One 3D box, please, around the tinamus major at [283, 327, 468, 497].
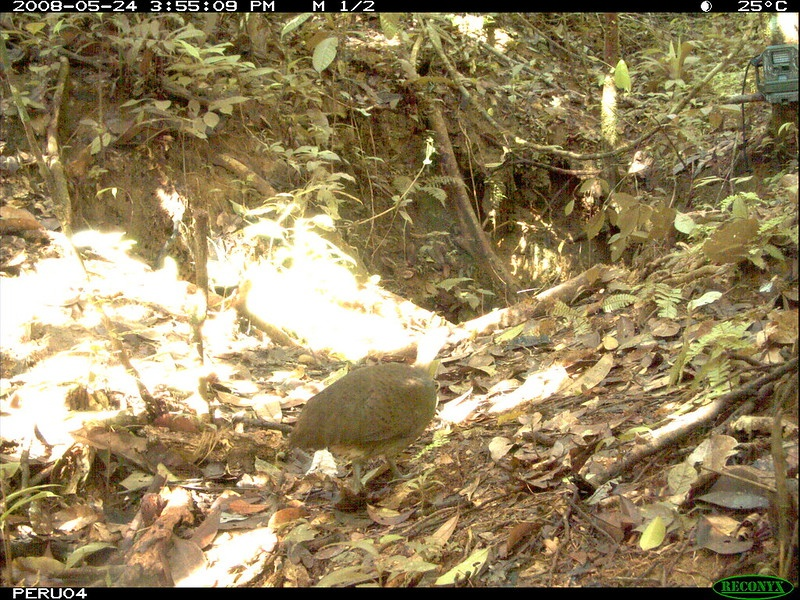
[{"bbox_3d":[-0.165,0.666,4.079,1.081,0.730,0.557,-9,4,-24],"label":"tinamus major"}]
